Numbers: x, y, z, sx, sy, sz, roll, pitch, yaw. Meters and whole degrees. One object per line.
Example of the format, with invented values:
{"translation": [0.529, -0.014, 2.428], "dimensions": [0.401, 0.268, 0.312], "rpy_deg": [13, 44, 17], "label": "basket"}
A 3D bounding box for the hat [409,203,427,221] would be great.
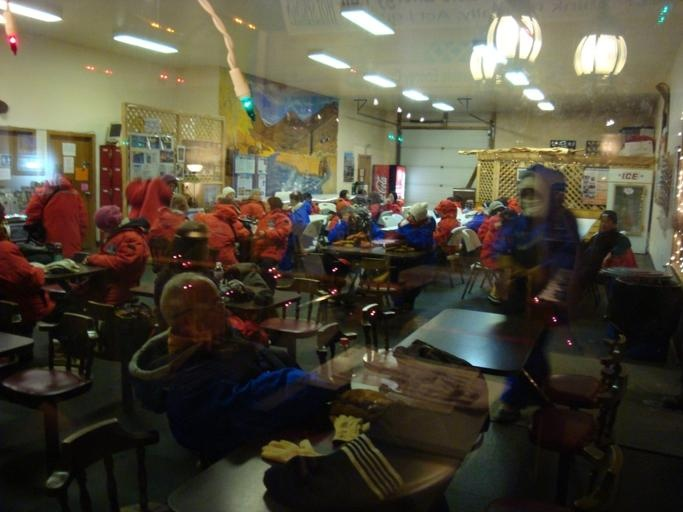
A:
{"translation": [0.380, -0.215, 2.531], "dimensions": [0.061, 0.062, 0.082], "rpy_deg": [-1, 7, 1], "label": "hat"}

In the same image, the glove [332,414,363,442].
{"translation": [0.020, 0.673, 2.025], "dimensions": [0.139, 0.075, 0.095], "rpy_deg": [6, 9, 21], "label": "glove"}

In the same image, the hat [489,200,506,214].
{"translation": [0.678, -0.215, 2.282], "dimensions": [0.053, 0.038, 0.075], "rpy_deg": [-11, -6, -12], "label": "hat"}

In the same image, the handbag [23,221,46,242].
{"translation": [-2.556, -0.200, 4.380], "dimensions": [0.180, 0.168, 0.135], "rpy_deg": [-1, 9, -14], "label": "handbag"}

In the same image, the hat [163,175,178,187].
{"translation": [-1.391, -0.617, 4.250], "dimensions": [0.074, 0.095, 0.096], "rpy_deg": [3, 35, 19], "label": "hat"}
